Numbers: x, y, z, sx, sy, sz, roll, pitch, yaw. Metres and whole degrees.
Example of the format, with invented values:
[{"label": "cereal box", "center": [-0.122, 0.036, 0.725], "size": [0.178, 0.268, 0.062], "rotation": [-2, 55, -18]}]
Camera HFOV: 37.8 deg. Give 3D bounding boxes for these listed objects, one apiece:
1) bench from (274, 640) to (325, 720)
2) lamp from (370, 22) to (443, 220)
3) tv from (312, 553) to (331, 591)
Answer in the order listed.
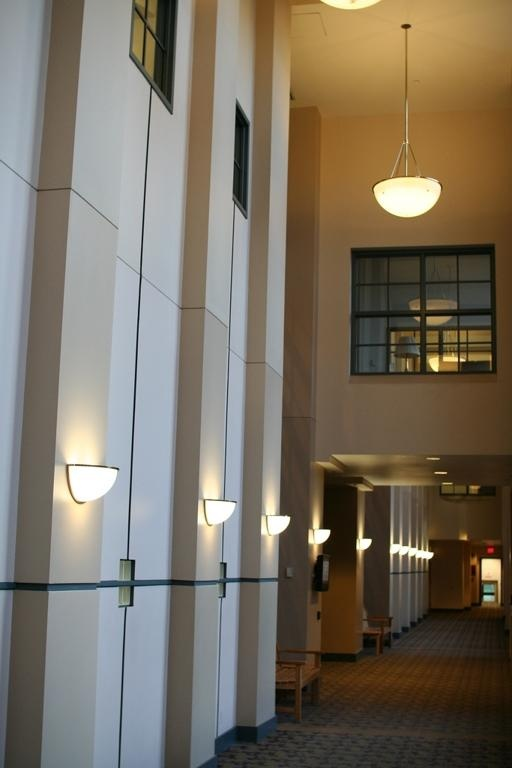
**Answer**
[{"label": "bench", "center": [0.544, 4.253, 10.379], "size": [0.288, 0.844, 1.051], "rotation": [-4, -21, -14]}, {"label": "lamp", "center": [2.168, -3.778, 10.765], "size": [0.706, 3.488, 0.836], "rotation": [-2, -18, 19]}, {"label": "tv", "center": [1.119, 3.352, 12.937], "size": [0.218, 0.655, 0.799], "rotation": [-1, -12, 13]}]
